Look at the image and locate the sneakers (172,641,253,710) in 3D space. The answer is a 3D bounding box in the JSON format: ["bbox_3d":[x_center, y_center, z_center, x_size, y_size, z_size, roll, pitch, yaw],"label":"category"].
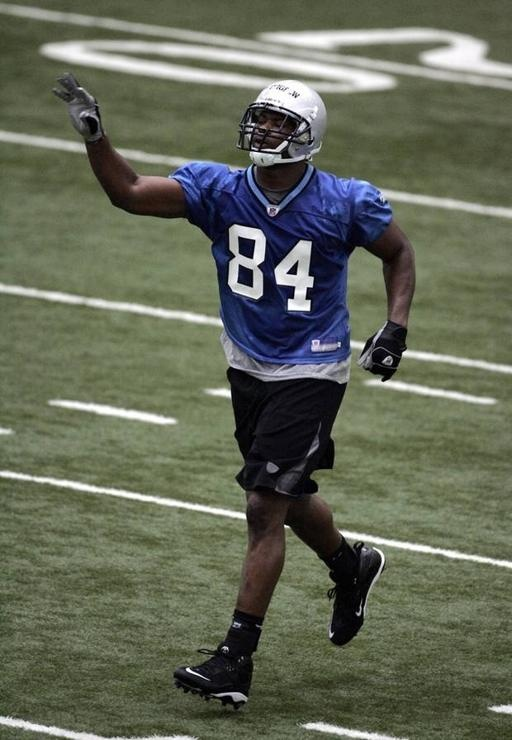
[{"bbox_3d":[-0.144,1.059,4.104,0.254,0.225,0.278,11,10,5],"label":"sneakers"}]

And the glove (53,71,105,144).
[{"bbox_3d":[-0.643,-0.936,4.242,0.192,0.232,0.233,8,10,-18],"label":"glove"}]

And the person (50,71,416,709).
[{"bbox_3d":[-0.116,0.011,4.333,1.062,2.179,0.822,17,12,21],"label":"person"}]

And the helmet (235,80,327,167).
[{"bbox_3d":[0.137,-0.924,4.460,0.425,0.264,0.286,-7,26,-34],"label":"helmet"}]
